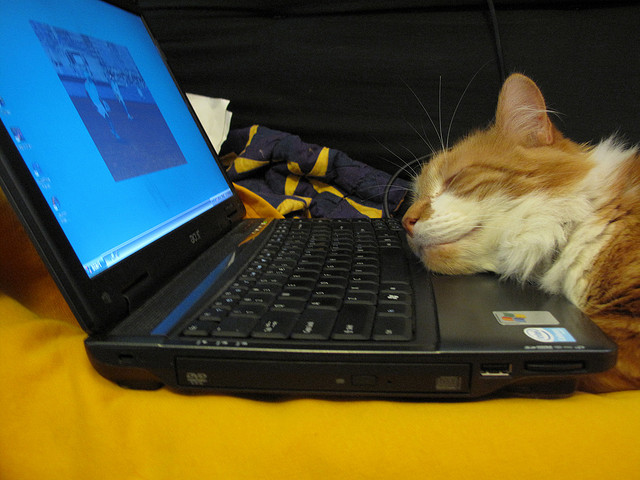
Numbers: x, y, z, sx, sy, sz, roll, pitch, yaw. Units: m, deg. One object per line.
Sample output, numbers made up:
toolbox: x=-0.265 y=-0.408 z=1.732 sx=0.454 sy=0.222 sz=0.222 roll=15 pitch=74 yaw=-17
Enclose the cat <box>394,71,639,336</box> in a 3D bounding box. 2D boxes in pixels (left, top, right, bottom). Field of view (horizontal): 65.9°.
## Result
cat: x=0.402 y=-0.058 z=0.915 sx=0.560 sy=0.327 sz=0.307 roll=-26 pitch=-6 yaw=-25
